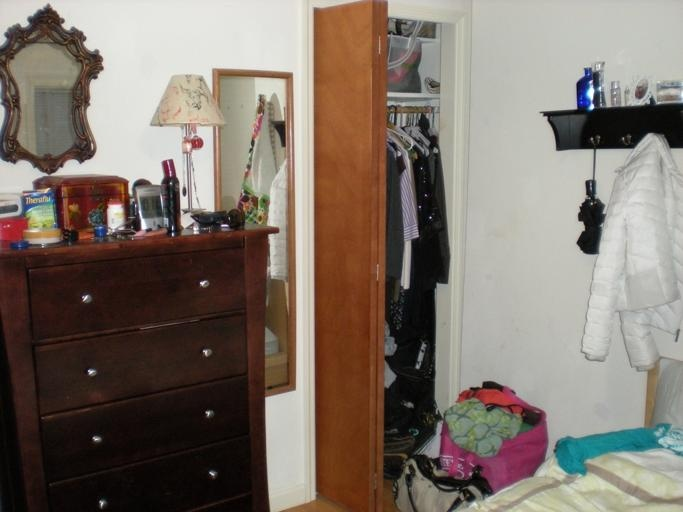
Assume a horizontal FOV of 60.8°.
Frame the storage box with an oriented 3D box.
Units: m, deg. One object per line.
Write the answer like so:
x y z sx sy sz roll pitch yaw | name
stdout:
-1.101 -0.244 2.524 0.302 0.271 0.300 -5 7 -40 | storage box

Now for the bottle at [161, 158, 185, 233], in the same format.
-0.762 -0.271 2.608 0.085 0.312 0.375 -8 12 -15 | bottle

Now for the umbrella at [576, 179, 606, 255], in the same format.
1.307 -0.206 3.050 0.135 0.373 0.083 -1 12 23 | umbrella

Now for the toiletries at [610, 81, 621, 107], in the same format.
1.375 -0.813 2.919 0.052 0.124 0.090 0 13 25 | toiletries

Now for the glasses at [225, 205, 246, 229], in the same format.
-0.476 -0.172 2.656 0.075 0.093 0.034 -3 -31 -40 | glasses

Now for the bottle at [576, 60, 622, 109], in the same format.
1.286 -0.844 2.954 0.265 0.276 0.156 12 21 41 | bottle

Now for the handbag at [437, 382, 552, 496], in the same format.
0.838 0.977 3.228 0.476 0.350 0.473 -30 28 -31 | handbag
